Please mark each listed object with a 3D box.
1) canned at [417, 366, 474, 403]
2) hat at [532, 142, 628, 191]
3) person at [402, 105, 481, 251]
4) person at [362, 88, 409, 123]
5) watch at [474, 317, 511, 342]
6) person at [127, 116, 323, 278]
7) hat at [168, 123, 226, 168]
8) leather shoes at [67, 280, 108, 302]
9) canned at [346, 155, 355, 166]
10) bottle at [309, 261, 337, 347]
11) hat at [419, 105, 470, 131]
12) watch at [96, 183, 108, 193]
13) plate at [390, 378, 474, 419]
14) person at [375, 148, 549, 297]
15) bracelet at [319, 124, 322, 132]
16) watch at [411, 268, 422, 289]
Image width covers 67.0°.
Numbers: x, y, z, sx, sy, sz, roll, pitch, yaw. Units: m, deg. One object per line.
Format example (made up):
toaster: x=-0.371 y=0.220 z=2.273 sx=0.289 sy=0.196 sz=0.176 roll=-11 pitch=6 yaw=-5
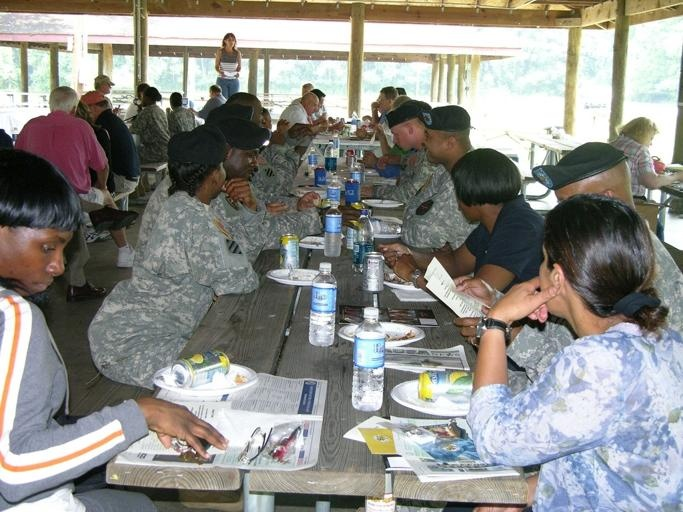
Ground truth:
canned: x=0.324 y=0.400 z=1.591 sx=0.129 sy=0.046 sz=0.090 roll=-2 pitch=3 yaw=9
hat: x=1.009 y=-0.385 z=2.186 sx=0.290 sy=0.093 sz=0.240 roll=-30 pitch=5 yaw=-10
person: x=0.781 y=-0.660 z=4.002 sx=0.615 sy=1.024 sz=1.087 roll=2 pitch=26 yaw=13
person: x=0.844 y=-2.877 z=9.932 sx=0.644 sy=0.724 sz=0.515 roll=5 pitch=15 yaw=-2
watch: x=0.431 y=0.213 z=1.482 sx=0.093 sy=0.092 sz=0.061 roll=-9 pitch=41 yaw=40
person: x=-0.809 y=-0.387 z=3.565 sx=1.238 sy=1.234 sz=0.935 roll=-12 pitch=51 yaw=-14
hat: x=-0.714 y=-0.569 z=2.645 sx=0.274 sy=0.127 sz=0.191 roll=0 pitch=27 yaw=2
leather shoes: x=-2.482 y=0.342 z=5.074 sx=0.357 sy=0.155 sz=0.163 roll=-6 pitch=14 yaw=-26
canned: x=0.125 y=-1.213 z=6.525 sx=0.124 sy=0.179 sz=0.122 roll=3 pitch=3 yaw=4
bottle: x=-0.072 y=0.207 z=1.968 sx=0.105 sy=0.231 sz=0.151 roll=1 pitch=11 yaw=-3
hat: x=0.761 y=-0.986 z=3.712 sx=0.204 sy=0.098 sz=0.270 roll=-13 pitch=19 yaw=-38
watch: x=-2.847 y=-0.815 z=6.150 sx=0.100 sy=0.105 sz=0.104 roll=-2 pitch=-8 yaw=3
plate: x=0.268 y=0.438 z=1.570 sx=0.231 sy=0.041 sz=0.152 roll=6 pitch=12 yaw=24
person: x=0.700 y=-0.139 z=2.804 sx=0.890 sy=0.779 sz=0.658 roll=-8 pitch=20 yaw=-3
bracelet: x=-0.279 y=-1.740 z=7.004 sx=0.056 sy=0.077 sz=0.022 roll=1 pitch=-12 yaw=8
watch: x=0.362 y=0.113 z=2.602 sx=0.049 sy=0.073 sz=0.073 roll=4 pitch=45 yaw=-8
